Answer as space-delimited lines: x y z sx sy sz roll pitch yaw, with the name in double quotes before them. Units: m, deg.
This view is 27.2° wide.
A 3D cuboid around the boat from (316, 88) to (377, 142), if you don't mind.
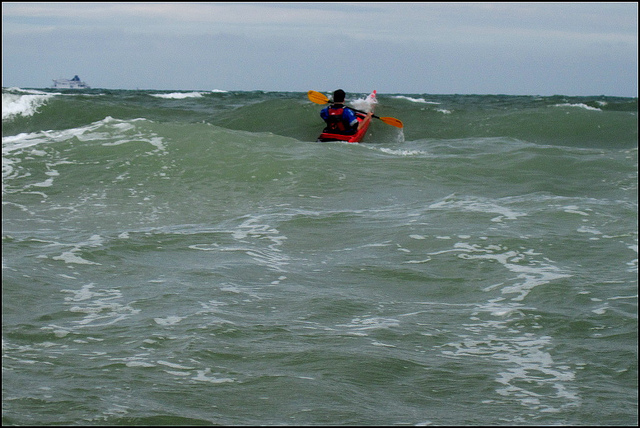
"boat" 0.574 -2.268 33.936 0.851 0.706 4.548 24 15 2
